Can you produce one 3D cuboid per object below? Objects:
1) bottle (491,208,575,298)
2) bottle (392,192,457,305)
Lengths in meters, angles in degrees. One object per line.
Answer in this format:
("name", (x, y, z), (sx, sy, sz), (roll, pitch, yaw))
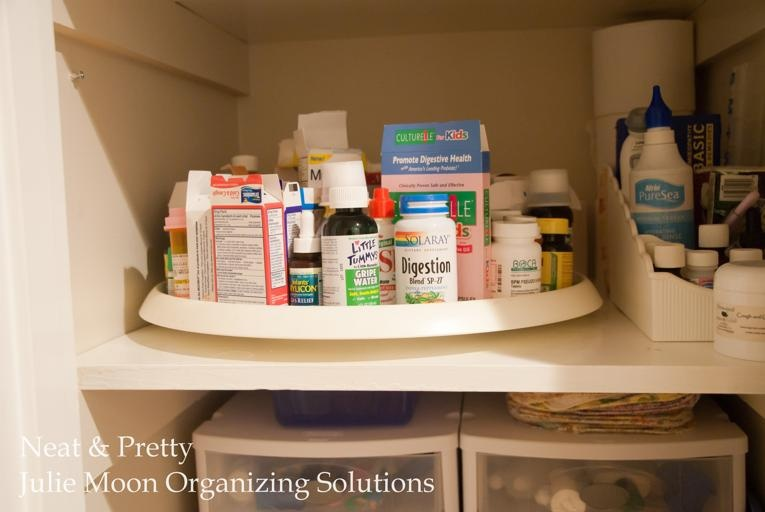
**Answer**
("bottle", (0.283, 0.001, 1.223), (0.179, 0.163, 0.117), (0, -1, -37))
("bottle", (0.069, -0.014, 1.132), (0.105, 0.181, 0.048), (-3, 4, 4))
